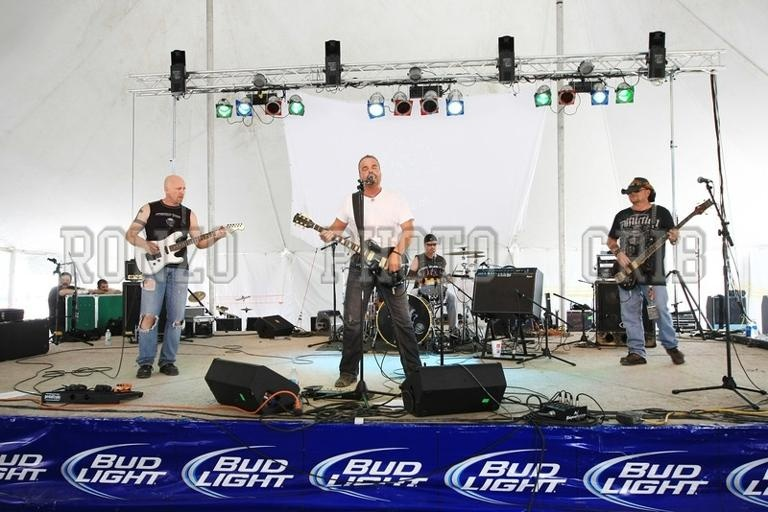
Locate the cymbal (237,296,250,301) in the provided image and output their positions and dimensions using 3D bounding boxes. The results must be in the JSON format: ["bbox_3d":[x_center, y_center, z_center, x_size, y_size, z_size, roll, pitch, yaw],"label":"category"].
[{"bbox_3d":[-3.394,1.006,17.415,0.156,0.124,0.317,-1,-1,37],"label":"cymbal"}]

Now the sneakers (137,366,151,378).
[{"bbox_3d":[-3.569,1.718,10.698,0.213,0.174,0.148,0,-1,-18],"label":"sneakers"}]

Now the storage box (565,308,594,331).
[{"bbox_3d":[4.150,1.361,15.337,0.562,0.515,0.337,-1,-5,8],"label":"storage box"}]

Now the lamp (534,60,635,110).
[{"bbox_3d":[3.920,-3.396,14.159,1.875,0.856,0.880,0,-1,9],"label":"lamp"}]

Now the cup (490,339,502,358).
[{"bbox_3d":[1.918,1.582,12.177,0.224,0.321,0.258,-2,-5,15],"label":"cup"}]

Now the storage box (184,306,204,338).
[{"bbox_3d":[-3.953,1.296,14.633,0.486,0.743,0.730,0,0,-22],"label":"storage box"}]

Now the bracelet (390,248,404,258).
[{"bbox_3d":[0.143,-0.057,10.352,0.121,0.132,0.171,1,-1,-43],"label":"bracelet"}]

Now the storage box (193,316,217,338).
[{"bbox_3d":[-3.653,1.437,14.556,0.363,0.356,0.376,0,0,-7],"label":"storage box"}]

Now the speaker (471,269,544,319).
[{"bbox_3d":[2.140,0.921,12.557,1.268,1.049,0.795,-1,-11,18],"label":"speaker"}]

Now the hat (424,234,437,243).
[{"bbox_3d":[0.870,-0.337,13.744,0.153,0.149,0.195,-2,1,-4],"label":"hat"}]

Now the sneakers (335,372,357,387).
[{"bbox_3d":[-0.546,1.777,10.295,0.356,0.156,0.139,7,-11,-38],"label":"sneakers"}]

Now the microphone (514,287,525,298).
[{"bbox_3d":[2.295,0.646,12.208,0.142,0.114,0.095,0,-1,18],"label":"microphone"}]

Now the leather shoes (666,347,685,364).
[{"bbox_3d":[4.603,1.583,11.354,0.160,0.178,0.389,-4,2,14],"label":"leather shoes"}]

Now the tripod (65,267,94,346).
[{"bbox_3d":[-6.042,1.106,14.129,0.512,1.013,2.294,1,-1,-23],"label":"tripod"}]

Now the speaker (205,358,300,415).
[{"bbox_3d":[-1.725,1.499,9.471,1.004,0.675,0.717,-1,0,44],"label":"speaker"}]

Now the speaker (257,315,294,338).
[{"bbox_3d":[-2.216,1.435,14.614,0.520,0.405,0.741,-1,-1,37],"label":"speaker"}]

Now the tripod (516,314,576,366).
[{"bbox_3d":[2.746,1.440,12.243,0.751,0.710,0.705,2,-5,-33],"label":"tripod"}]

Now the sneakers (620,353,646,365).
[{"bbox_3d":[3.941,1.647,11.464,0.384,0.178,0.174,3,-7,-5],"label":"sneakers"}]

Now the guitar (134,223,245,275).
[{"bbox_3d":[-3.179,-0.042,11.012,1.059,0.677,0.404,0,-1,-13],"label":"guitar"}]

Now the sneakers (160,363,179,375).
[{"bbox_3d":[-3.247,1.706,10.896,0.318,0.164,0.198,-1,-1,42],"label":"sneakers"}]

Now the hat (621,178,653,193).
[{"bbox_3d":[4.153,-1.130,11.730,0.435,0.257,0.314,-3,-1,-13],"label":"hat"}]

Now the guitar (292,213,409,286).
[{"bbox_3d":[-0.474,-0.078,10.378,1.902,0.784,0.227,25,-3,2],"label":"guitar"}]
